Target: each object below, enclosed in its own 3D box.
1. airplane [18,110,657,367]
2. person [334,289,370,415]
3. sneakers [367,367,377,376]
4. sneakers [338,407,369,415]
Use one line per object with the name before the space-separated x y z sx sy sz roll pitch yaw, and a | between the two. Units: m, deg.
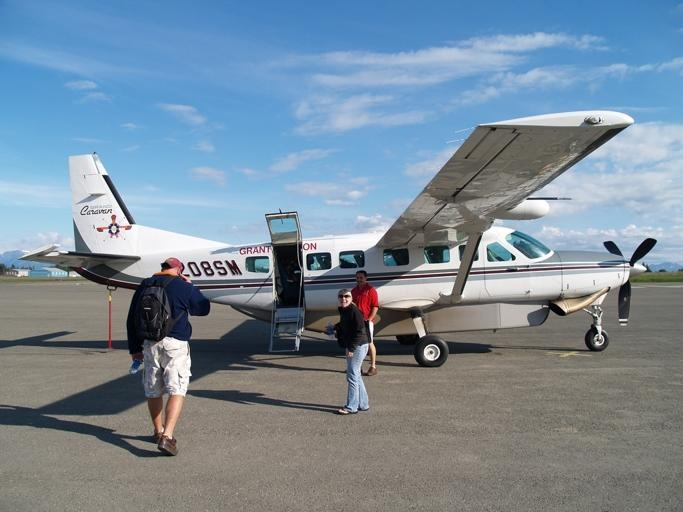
airplane | 0.696 0.098 10.316 7.821 2.121 8.738 -2 2 -7
person | 0.151 1.400 7.537 0.490 1.795 0.566 -1 11 1
sneakers | 0.557 2.119 9.463 0.124 0.086 0.252 -7 -17 17
sneakers | 0.198 2.242 7.506 0.470 0.087 0.142 6 -14 -17
